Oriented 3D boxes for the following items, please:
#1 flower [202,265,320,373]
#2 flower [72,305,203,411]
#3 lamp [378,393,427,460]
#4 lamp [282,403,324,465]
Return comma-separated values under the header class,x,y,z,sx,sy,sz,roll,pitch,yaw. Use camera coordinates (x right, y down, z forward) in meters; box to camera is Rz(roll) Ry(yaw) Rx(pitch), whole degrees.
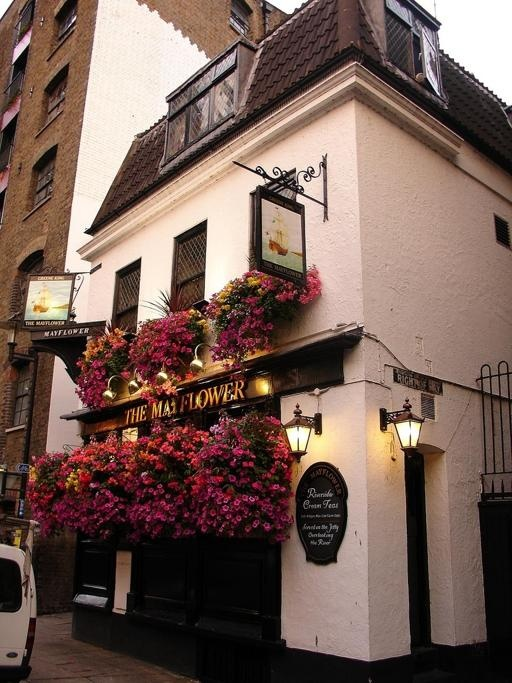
class,x,y,z,sx,sy,sz,roll,pitch,yaw
flower,0.055,-0.352,8.678,1.169,1.109,1.536,3,2,-3
flower,-1.814,0.287,10.982,0.689,0.823,1.783,5,-16,-44
lamp,1.559,0.929,7.503,0.432,0.613,0.280,-14,-24,34
lamp,0.494,1.009,7.882,0.429,0.654,0.331,15,-20,-42
